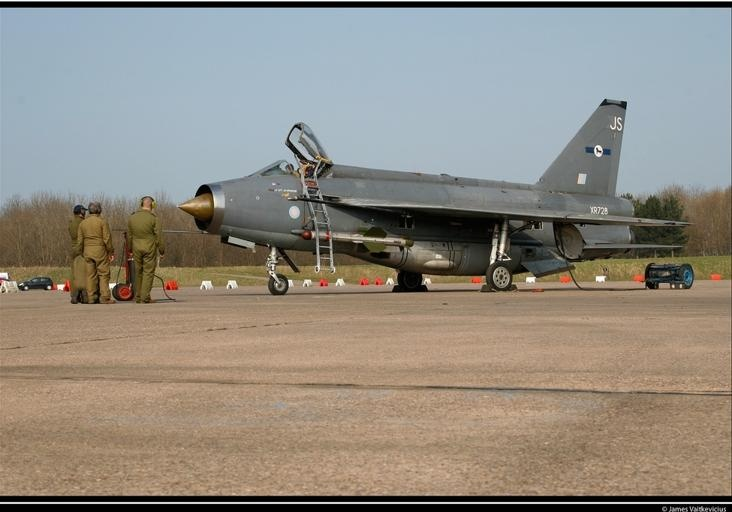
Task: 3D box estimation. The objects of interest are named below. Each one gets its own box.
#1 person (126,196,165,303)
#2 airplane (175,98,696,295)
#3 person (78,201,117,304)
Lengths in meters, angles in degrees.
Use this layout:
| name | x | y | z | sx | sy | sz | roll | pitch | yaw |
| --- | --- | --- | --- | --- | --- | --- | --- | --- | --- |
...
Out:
| name | x | y | z | sx | sy | sz | roll | pitch | yaw |
| --- | --- | --- | --- | --- | --- | --- | --- | --- | --- |
| person | -4.038 | -0.089 | 18.326 | 0.648 | 1.874 | 1.019 | -4 | 16 | -11 |
| airplane | 1.083 | -0.902 | 23.446 | 8.962 | 3.004 | 7.226 | 1 | -2 | -31 |
| person | -4.905 | -0.051 | 18.112 | 0.595 | 1.860 | 0.973 | -4 | 16 | -11 |
